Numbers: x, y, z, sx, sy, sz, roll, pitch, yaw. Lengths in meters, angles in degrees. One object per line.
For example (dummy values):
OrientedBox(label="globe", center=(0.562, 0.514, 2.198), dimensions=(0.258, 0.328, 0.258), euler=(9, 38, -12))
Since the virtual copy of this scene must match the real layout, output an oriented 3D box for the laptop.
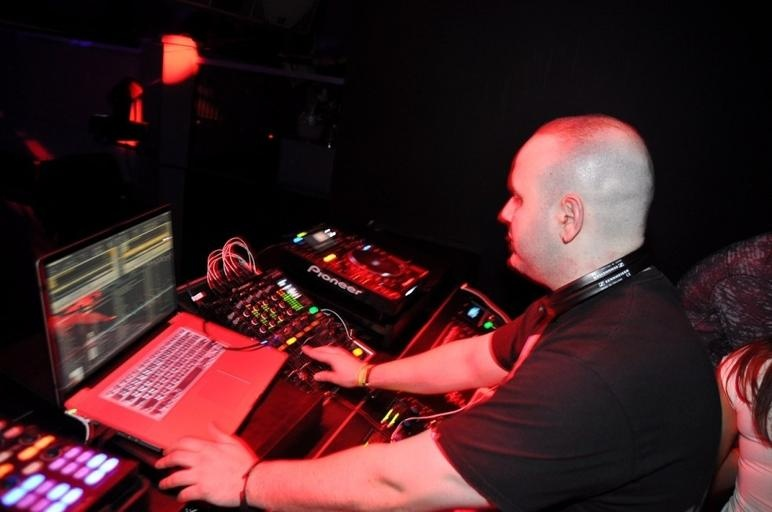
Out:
OrientedBox(label="laptop", center=(-0.609, 0.218, 1.625), dimensions=(0.597, 0.428, 0.638), euler=(22, 21, 9))
